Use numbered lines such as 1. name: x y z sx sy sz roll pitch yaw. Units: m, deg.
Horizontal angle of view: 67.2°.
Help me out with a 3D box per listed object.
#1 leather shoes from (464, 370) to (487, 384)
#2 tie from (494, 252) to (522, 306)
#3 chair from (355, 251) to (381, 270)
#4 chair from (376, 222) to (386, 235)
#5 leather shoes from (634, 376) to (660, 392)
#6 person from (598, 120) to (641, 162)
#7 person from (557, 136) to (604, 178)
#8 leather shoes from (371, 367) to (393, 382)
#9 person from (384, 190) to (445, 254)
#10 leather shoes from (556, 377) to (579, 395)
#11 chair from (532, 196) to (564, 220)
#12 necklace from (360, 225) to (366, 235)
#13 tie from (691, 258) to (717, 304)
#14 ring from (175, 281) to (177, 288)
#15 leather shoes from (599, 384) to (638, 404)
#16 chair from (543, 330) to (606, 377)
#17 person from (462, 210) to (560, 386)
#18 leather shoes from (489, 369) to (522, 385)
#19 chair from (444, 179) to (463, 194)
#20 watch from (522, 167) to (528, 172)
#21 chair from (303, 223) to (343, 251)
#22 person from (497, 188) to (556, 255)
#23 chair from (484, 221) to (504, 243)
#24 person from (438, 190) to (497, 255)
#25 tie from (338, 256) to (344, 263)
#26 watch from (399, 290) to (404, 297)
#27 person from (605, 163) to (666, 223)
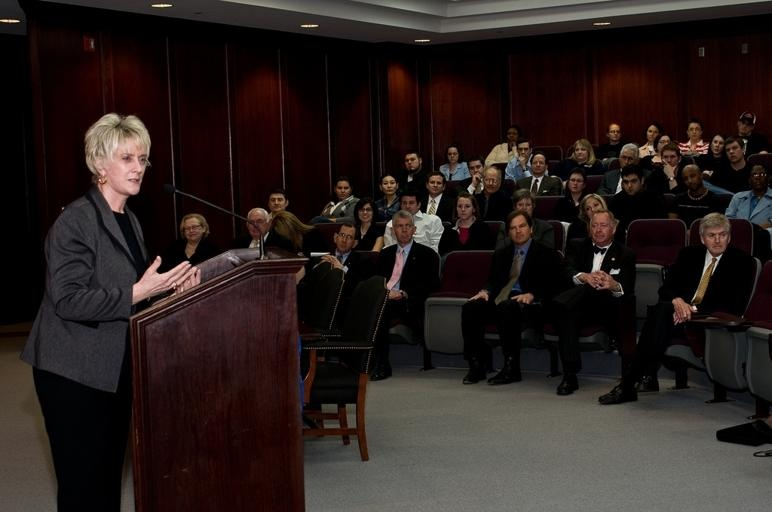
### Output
1. leather shoes: 0.842 1.173 5.668 0.223 0.170 0.092 0 -6 -33
2. tie: 1.214 0.231 5.659 0.157 0.693 0.071 11 -38 13
3. chair: -0.205 0.042 6.339 0.190 0.261 0.209 2 -4 -17
4. chair: -0.070 -0.359 7.267 0.136 0.148 0.198 0 11 -1
5. leather shoes: 2.293 1.122 5.090 0.094 0.111 0.266 -4 -12 20
6. person: 4.021 -1.956 10.206 0.530 0.771 0.415 2 -7 12
7. person: 3.101 -1.503 9.275 0.762 0.712 0.450 10 6 33
8. leather shoes: -0.057 1.183 5.824 0.184 0.115 0.288 -2 -4 2
9. person: 0.336 -0.382 7.186 0.689 0.950 0.553 2 22 29
10. leather shoes: 1.598 1.150 5.120 0.092 0.193 0.257 -8 -11 39
11. chair: 2.092 -0.660 7.614 0.329 0.508 0.358 -1 -5 1
12. necklace: -0.290 -0.333 7.212 0.086 0.070 0.089 3 -4 -20
13. tie: 2.683 0.213 4.888 0.049 0.480 0.123 32 -13 -37
14. ring: -0.783 0.104 2.149 0.007 0.023 0.022 4 1 -28
15. leather shoes: 1.947 1.159 4.906 0.360 0.154 0.137 -2 1 -15
16. chair: 1.761 0.890 5.507 0.442 0.619 0.565 4 8 44
17. person: 1.213 0.382 5.612 0.948 1.638 0.526 -1 4 14
18. leather shoes: 1.127 1.133 5.494 0.323 0.237 0.127 2 -6 -9
19. chair: 1.053 -1.087 8.972 0.196 0.285 0.226 0 -5 10
20. watch: 2.295 -1.433 9.562 0.054 0.080 0.023 -3 1 -8
21. chair: -0.876 -0.270 7.539 0.366 0.444 0.354 2 3 -4
22. person: 1.519 -0.305 6.303 0.581 0.833 0.493 -5 4 3
23. chair: 1.272 -0.292 6.734 0.210 0.299 0.238 0 -5 -1
24. person: 0.919 -0.314 6.731 0.742 0.856 0.484 0 6 25
25. tie: -0.516 0.029 6.505 0.054 0.083 0.029 -1 -6 10
26. watch: 0.159 0.384 6.007 0.039 0.058 0.017 -1 -3 -43
27. person: 3.061 -0.759 7.103 0.793 0.829 0.484 -4 -13 19
